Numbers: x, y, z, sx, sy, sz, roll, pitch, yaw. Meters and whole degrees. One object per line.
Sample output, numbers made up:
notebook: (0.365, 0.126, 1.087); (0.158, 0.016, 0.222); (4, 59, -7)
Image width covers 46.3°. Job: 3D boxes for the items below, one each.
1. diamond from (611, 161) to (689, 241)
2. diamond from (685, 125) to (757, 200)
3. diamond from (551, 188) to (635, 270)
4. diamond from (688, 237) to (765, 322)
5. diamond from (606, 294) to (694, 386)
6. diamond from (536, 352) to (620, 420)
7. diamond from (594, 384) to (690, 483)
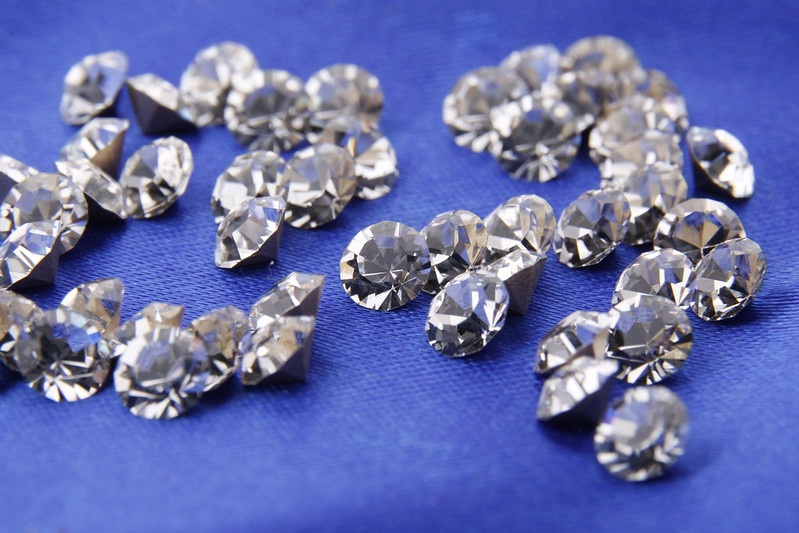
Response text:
diamond: (0.256, -0.061, 0.978); (0.073, 0.037, 0.073); (-5, 75, 25)
diamond: (0.346, -0.109, 1.009); (0.063, 0.031, 0.079); (-17, 90, -10)
diamond: (0.198, -0.037, 0.950); (0.068, 0.080, 0.038); (-7, 12, 3)
diamond: (0.318, 0.024, 0.951); (0.037, 0.074, 0.077); (40, 55, -2)
diamond: (0.238, 0.073, 0.897); (0.080, 0.067, 0.055); (13, 39, 2)
diamond: (0.171, 0.108, 0.866); (0.030, 0.062, 0.061); (39, 62, -3)
diamond: (0.220, 0.154, 0.845); (0.070, 0.092, 0.036); (27, 29, -14)
